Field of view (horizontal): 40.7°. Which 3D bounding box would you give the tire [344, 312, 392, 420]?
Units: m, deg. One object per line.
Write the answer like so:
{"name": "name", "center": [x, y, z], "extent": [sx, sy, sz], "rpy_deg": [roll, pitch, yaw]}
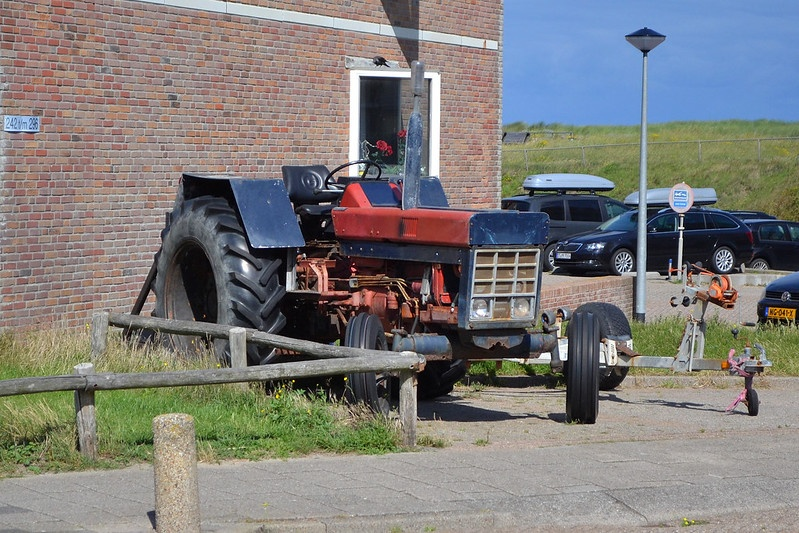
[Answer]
{"name": "tire", "center": [-0.339, 1.096, 11.853], "extent": [0.534, 1.034, 0.804], "rpy_deg": [3, 10, -3]}

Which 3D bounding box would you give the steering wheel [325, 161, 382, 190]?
{"name": "steering wheel", "center": [-0.621, -1.184, 14.111], "extent": [0.646, 0.425, 0.656], "rpy_deg": [1, 2, 0]}

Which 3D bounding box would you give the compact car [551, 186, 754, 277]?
{"name": "compact car", "center": [6.215, -0.699, 26.444], "extent": [4.697, 1.967, 2.186], "rpy_deg": [0, -1, -21]}

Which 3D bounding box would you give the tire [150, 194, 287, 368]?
{"name": "tire", "center": [-2.417, 0.216, 13.606], "extent": [0.639, 2.017, 1.919], "rpy_deg": [0, -21, -40]}

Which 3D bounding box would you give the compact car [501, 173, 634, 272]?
{"name": "compact car", "center": [4.486, -1.287, 28.859], "extent": [4.052, 2.221, 2.364], "rpy_deg": [-4, 4, -20]}

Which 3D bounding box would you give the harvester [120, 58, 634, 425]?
{"name": "harvester", "center": [-0.324, -0.277, 13.962], "extent": [3.560, 4.537, 6.081], "rpy_deg": [0, 0, -39]}

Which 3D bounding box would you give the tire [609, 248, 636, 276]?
{"name": "tire", "center": [5.190, -0.132, 24.931], "extent": [0.554, 0.590, 0.180], "rpy_deg": [-4, 7, -34]}

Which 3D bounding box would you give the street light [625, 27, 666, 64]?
{"name": "street light", "center": [4.377, -3.961, 19.001], "extent": [0.616, 0.505, 0.474], "rpy_deg": [6, 10, 9]}

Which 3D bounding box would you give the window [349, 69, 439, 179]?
{"name": "window", "center": [-0.024, -2.551, 19.039], "extent": [1.419, 1.792, 0.062], "rpy_deg": [1, -10, -5]}

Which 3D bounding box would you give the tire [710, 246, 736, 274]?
{"name": "tire", "center": [7.986, -0.212, 26.445], "extent": [0.635, 0.679, 0.221], "rpy_deg": [-1, 2, -33]}

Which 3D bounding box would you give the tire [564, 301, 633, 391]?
{"name": "tire", "center": [2.389, 0.974, 12.825], "extent": [0.565, 1.383, 1.155], "rpy_deg": [0, -2, -14]}
